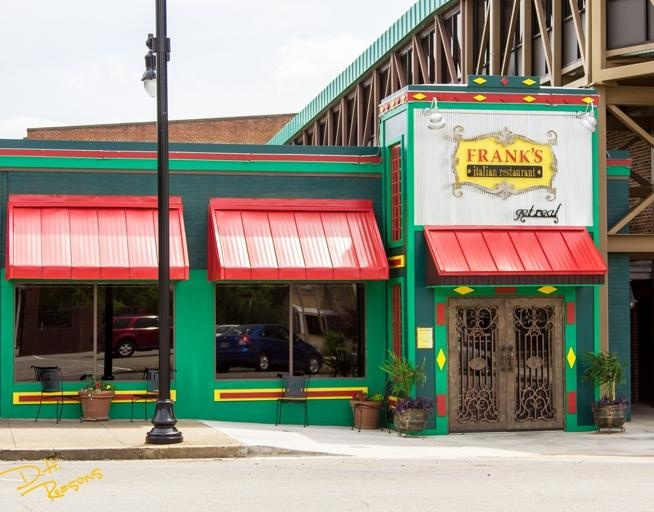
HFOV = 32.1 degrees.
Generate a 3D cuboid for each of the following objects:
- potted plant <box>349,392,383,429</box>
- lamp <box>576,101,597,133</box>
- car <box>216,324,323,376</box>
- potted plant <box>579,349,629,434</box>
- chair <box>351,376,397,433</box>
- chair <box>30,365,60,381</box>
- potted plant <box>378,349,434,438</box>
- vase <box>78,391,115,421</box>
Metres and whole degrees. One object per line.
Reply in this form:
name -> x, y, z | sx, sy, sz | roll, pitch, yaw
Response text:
potted plant -> 0.862, 3.421, 24.481 | 0.716, 0.551, 0.687 | 1, -10, -3
lamp -> 5.600, -2.997, 24.370 | 0.426, 0.671, 0.215 | -2, -13, -21
car -> -1.290, 2.038, 24.451 | 1.813, 0.720, 1.007 | 0, -5, -24
potted plant -> 5.872, 2.863, 23.956 | 0.788, 1.718, 0.645 | -11, -13, 21
chair -> 0.988, 3.262, 24.522 | 0.912, 0.927, 0.750 | -2, -10, -3
chair -> -5.708, 2.378, 23.389 | 0.461, 0.523, 0.325 | -5, 6, -33
potted plant -> 1.779, 2.869, 23.321 | 0.993, 1.358, 0.892 | -11, -1, -20
vase -> -4.671, 3.082, 23.450 | 0.673, 0.496, 0.654 | 4, -7, -27
